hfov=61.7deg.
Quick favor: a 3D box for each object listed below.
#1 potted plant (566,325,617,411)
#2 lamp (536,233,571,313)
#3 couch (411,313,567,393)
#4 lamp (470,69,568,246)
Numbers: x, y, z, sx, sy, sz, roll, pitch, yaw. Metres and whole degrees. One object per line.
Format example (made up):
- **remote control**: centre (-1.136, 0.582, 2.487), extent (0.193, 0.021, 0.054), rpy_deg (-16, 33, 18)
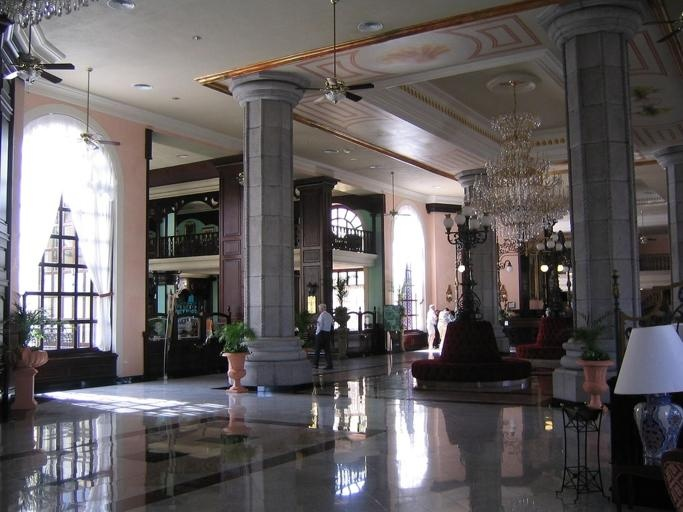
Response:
- **potted plant**: centre (3.244, 1.399, 7.328), extent (0.464, 1.055, 0.667), rpy_deg (-4, -7, 24)
- **lamp**: centre (7.013, 0.582, 18.995), extent (0.681, 3.377, 0.771), rpy_deg (5, -4, 2)
- **couch**: centre (2.912, 1.887, 11.253), extent (3.096, 1.538, 2.429), rpy_deg (1, -3, 29)
- **lamp**: centre (3.821, -2.342, 13.004), extent (1.969, 3.960, 1.896), rpy_deg (-6, -7, 43)
